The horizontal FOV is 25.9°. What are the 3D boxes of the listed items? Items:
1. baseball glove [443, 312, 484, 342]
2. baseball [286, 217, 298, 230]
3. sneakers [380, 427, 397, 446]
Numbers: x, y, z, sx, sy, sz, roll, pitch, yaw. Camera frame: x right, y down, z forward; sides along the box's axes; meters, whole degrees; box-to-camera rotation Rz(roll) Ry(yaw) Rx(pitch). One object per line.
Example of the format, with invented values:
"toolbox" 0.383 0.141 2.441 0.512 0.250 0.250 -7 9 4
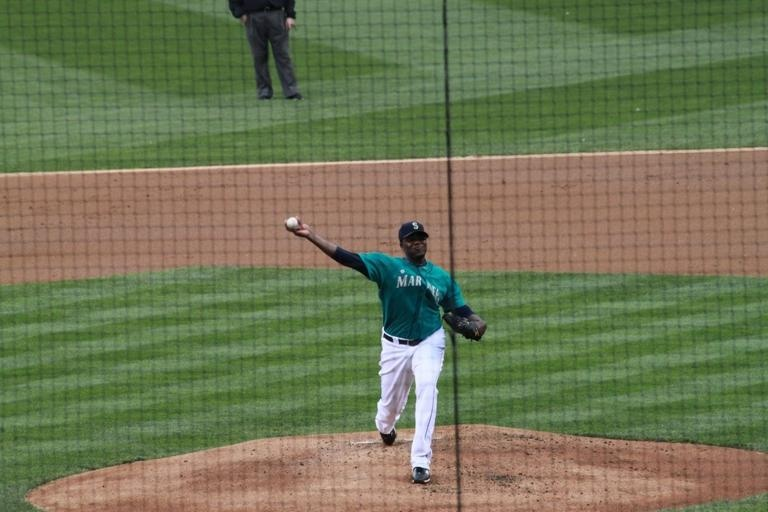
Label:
"baseball glove" 1.271 1.182 26.997 0.606 0.292 0.361 33 43 11
"baseball" -1.470 -0.478 26.620 0.197 0.189 0.194 1 1 13
"sneakers" 0.092 3.062 27.618 0.155 0.379 0.162 0 27 10
